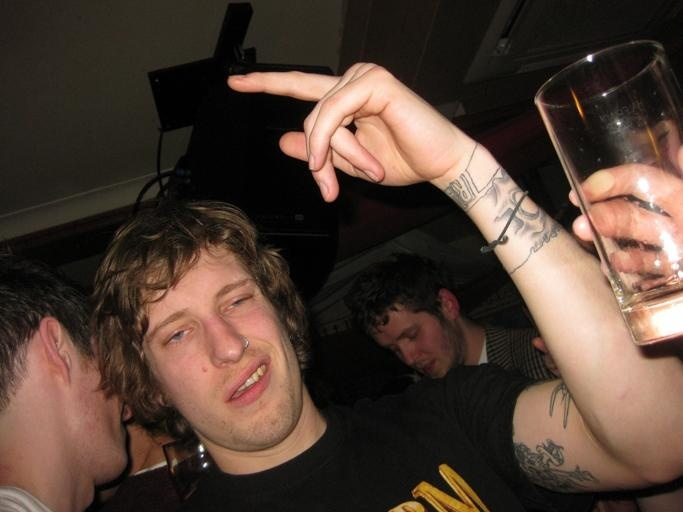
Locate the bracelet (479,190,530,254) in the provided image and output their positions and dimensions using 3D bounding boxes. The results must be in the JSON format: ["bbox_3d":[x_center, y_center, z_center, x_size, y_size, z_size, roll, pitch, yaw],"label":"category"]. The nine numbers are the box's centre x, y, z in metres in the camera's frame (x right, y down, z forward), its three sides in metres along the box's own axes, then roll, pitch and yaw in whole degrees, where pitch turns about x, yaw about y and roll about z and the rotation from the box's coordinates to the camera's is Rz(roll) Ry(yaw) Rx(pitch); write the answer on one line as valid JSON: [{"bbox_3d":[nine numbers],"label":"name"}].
[{"bbox_3d":[0.637,-0.106,2.156,0.060,0.131,0.291,35,70,11],"label":"bracelet"}]
